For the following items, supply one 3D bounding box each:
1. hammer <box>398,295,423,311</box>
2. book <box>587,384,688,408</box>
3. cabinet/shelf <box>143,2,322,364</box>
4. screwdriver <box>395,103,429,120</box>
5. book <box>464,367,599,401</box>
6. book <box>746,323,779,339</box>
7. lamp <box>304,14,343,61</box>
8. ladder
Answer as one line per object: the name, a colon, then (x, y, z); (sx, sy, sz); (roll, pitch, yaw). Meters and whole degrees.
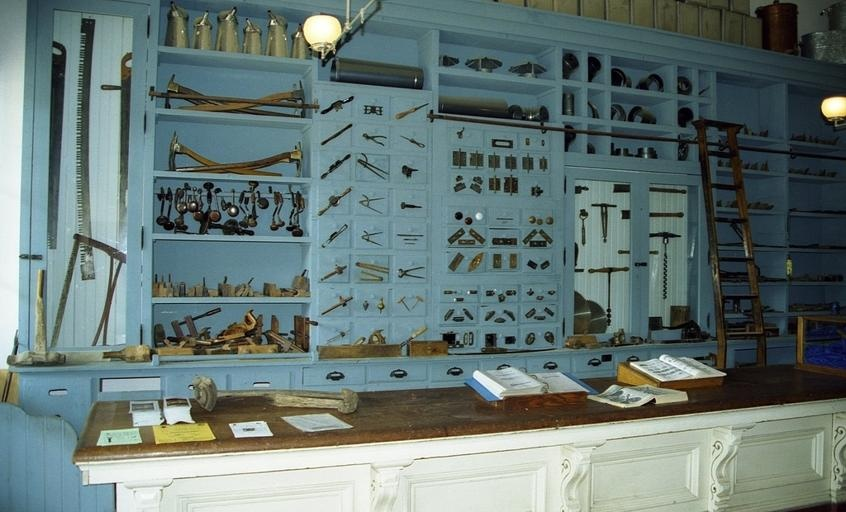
hammer: (-0.133, 0.520, 7.192); (0.292, 0.145, 0.071); (-2, 8, -12)
book: (1.710, 1.119, 5.184); (0.632, 0.091, 0.810); (-1, 1, 31)
cabinet/shelf: (-2.084, -0.834, 7.070); (1.685, 3.780, 0.915); (1, -6, -16)
screwdriver: (-0.127, -1.617, 7.203); (0.572, 0.105, 0.063); (-17, 8, -17)
book: (0.883, 1.039, 5.182); (0.681, 0.200, 0.862); (-3, -2, 15)
book: (4.227, 0.926, 8.022); (0.352, 0.204, 1.098); (-3, -5, 29)
lamp: (-0.837, -1.869, 5.470); (0.280, 0.329, 0.322); (-1, -5, 4)
ladder: (3.819, -0.265, 8.157); (1.057, 3.536, 0.774); (-4, 0, -40)
